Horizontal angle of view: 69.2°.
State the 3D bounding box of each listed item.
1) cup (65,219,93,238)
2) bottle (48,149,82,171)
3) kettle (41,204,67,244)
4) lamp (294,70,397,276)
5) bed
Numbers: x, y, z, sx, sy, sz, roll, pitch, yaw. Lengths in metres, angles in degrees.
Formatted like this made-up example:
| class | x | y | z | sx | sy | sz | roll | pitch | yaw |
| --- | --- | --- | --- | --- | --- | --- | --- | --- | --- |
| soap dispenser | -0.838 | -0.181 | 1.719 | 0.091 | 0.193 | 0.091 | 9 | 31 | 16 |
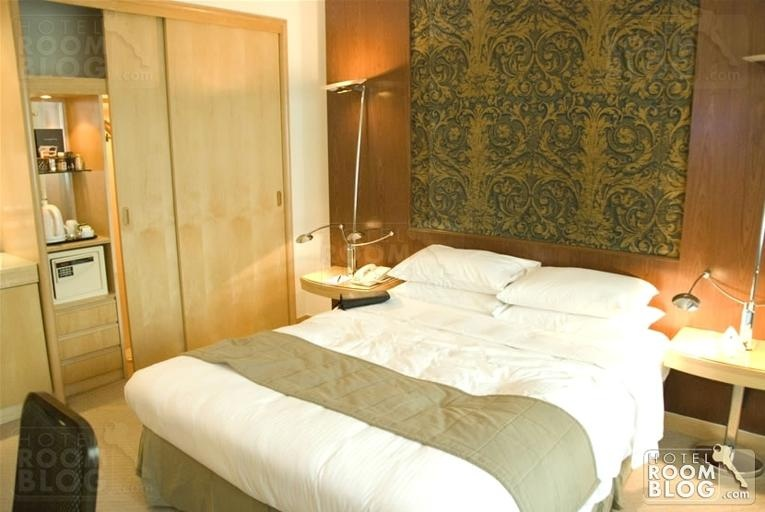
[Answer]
| class | x | y | z | sx | sy | sz | roll | pitch | yaw |
| --- | --- | --- | --- | --- | --- | --- | --- | --- | --- |
| cup | -2.435 | -0.221 | 4.448 | 0.223 | 0.149 | 0.130 | 3 | 8 | 6 |
| bottle | -2.543 | -0.757 | 4.442 | 0.261 | 0.153 | 0.131 | -4 | 14 | -30 |
| kettle | -2.587 | -0.276 | 4.373 | 0.140 | 0.312 | 0.246 | -5 | 14 | -29 |
| lamp | -0.337 | -0.747 | 5.023 | 0.546 | 1.759 | 0.803 | -7 | 15 | -35 |
| bed | 0.403 | 0.699 | 3.261 | 2.074 | 0.752 | 2.158 | 7 | 11 | 39 |
